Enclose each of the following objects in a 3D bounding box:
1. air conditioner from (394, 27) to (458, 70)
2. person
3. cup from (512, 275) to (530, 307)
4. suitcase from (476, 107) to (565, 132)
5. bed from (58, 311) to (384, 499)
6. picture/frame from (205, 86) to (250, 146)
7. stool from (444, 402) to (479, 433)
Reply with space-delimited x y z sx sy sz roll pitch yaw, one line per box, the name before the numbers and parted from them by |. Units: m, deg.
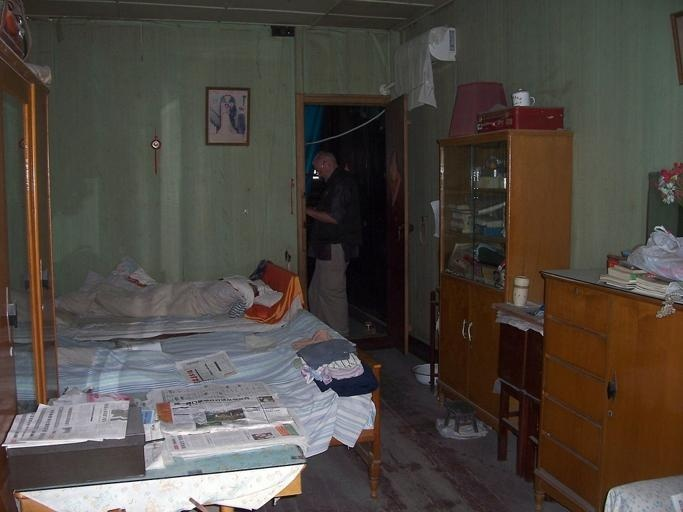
air conditioner | 0.862 -1.979 4.966 0.266 0.283 0.750 -4 20 -3
person | -0.212 -0.098 5.986 0.768 2.151 0.745 -5 19 -17
cup | 1.131 0.225 3.368 0.099 0.164 0.124 9 4 19
suitcase | 1.144 -0.898 3.519 0.577 0.152 0.292 10 4 28
bed | -0.867 0.731 3.278 1.210 0.367 1.219 -5 21 -19
picture/frame | -1.177 -1.431 5.366 0.581 0.742 0.052 -1 3 -17
stool | 0.846 1.131 3.802 0.200 0.228 0.198 -3 7 -21
